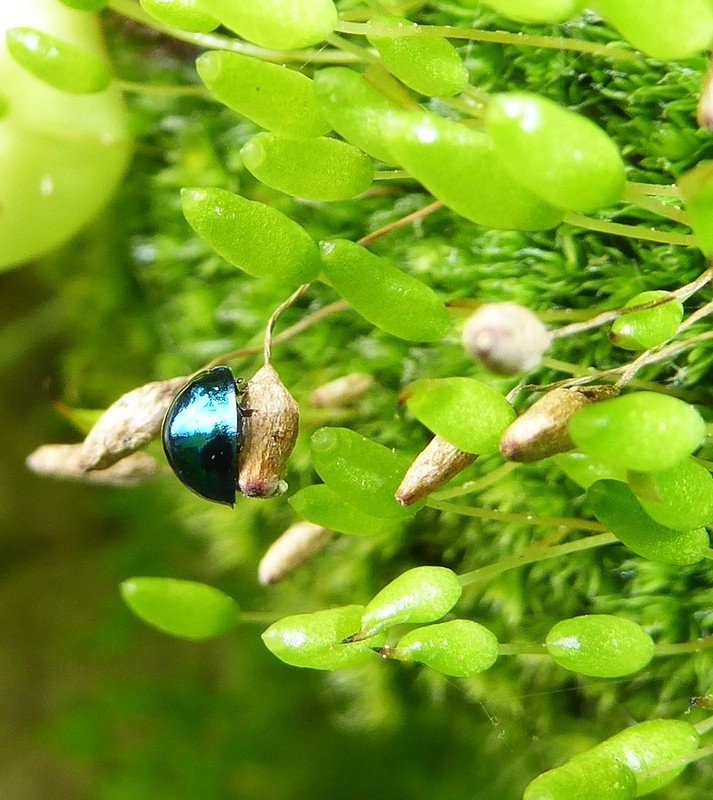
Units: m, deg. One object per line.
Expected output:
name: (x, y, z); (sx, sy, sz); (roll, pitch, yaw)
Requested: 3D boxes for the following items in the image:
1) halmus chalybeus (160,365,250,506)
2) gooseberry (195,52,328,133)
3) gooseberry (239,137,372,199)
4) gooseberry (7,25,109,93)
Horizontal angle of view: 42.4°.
halmus chalybeus: (-0.065, 0.014, 0.400); (0.044, 0.055, 0.052); (-3, 7, -6)
gooseberry: (-0.038, -0.127, 0.382); (0.058, 0.027, 0.022); (6, 46, -13)
gooseberry: (-0.020, -0.100, 0.398); (0.055, 0.023, 0.015); (6, 3, -16)
gooseberry: (-0.146, -0.170, 0.460); (0.049, 0.030, 0.052); (-13, 25, -21)
